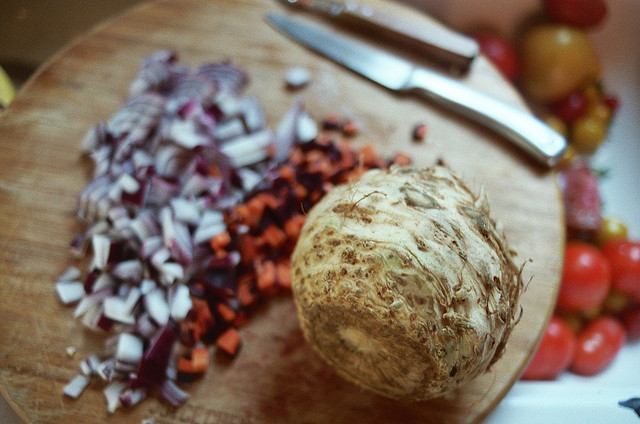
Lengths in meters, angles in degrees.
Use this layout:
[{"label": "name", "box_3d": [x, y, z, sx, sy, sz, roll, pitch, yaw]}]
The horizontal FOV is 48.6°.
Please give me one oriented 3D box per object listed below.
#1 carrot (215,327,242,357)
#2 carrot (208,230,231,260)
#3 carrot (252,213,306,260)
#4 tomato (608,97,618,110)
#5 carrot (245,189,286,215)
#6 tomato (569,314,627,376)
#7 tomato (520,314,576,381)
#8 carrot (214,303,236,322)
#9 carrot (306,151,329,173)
[{"label": "carrot", "box_3d": [-0.281, 0.403, 2.178, 0.070, 0.019, 0.073, -38, 87, -5]}, {"label": "carrot", "box_3d": [-0.316, 0.110, 2.240, 0.067, 0.038, 0.082, -14, 73, -11]}, {"label": "carrot", "box_3d": [-0.131, 0.075, 2.289, 0.047, 0.131, 0.143, 50, 52, -16]}, {"label": "tomato", "box_3d": [0.931, -0.347, 2.262, 0.033, 0.012, 0.036, 3, 71, -5]}, {"label": "carrot", "box_3d": [-0.178, -0.033, 2.278, 0.085, 0.025, 0.087, 42, 83, -9]}, {"label": "tomato", "box_3d": [0.974, 0.482, 2.564, 0.156, 0.121, 0.213, 42, 77, 16]}, {"label": "tomato", "box_3d": [0.774, 0.473, 2.509, 0.212, 0.182, 0.247, 1, 99, 9]}, {"label": "carrot", "box_3d": [-0.298, 0.309, 2.220, 0.071, 0.011, 0.041, 41, 72, 7]}, {"label": "carrot", "box_3d": [-0.010, -0.162, 2.324, 0.058, 0.015, 0.067, 7, 72, -4]}]
